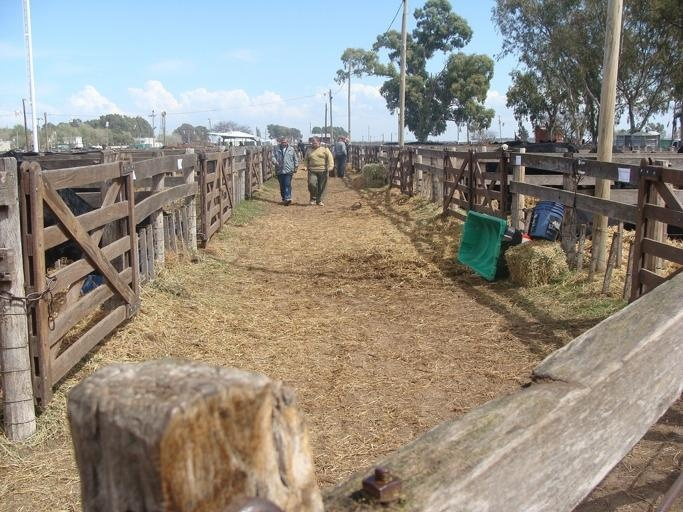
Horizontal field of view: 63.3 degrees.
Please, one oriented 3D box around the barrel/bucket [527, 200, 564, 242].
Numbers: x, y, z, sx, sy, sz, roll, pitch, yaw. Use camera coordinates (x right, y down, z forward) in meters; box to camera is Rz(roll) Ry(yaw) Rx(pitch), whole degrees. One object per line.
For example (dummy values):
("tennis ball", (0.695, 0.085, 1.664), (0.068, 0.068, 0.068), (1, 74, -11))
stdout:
("barrel/bucket", (2.942, -0.501, 7.984), (0.474, 0.582, 0.528), (4, 12, 22))
